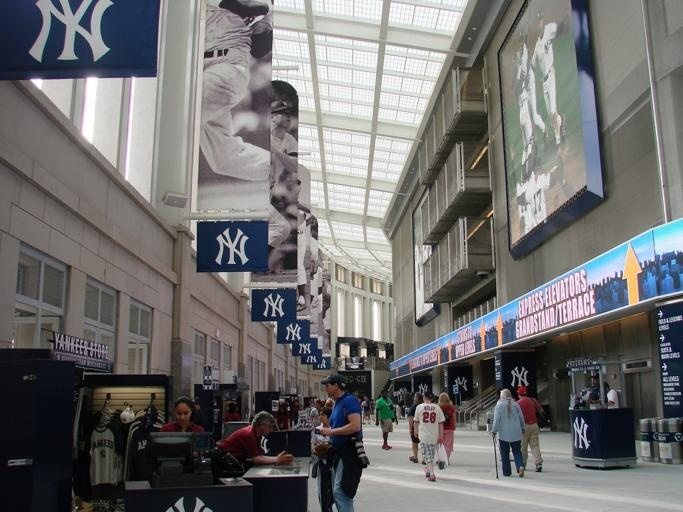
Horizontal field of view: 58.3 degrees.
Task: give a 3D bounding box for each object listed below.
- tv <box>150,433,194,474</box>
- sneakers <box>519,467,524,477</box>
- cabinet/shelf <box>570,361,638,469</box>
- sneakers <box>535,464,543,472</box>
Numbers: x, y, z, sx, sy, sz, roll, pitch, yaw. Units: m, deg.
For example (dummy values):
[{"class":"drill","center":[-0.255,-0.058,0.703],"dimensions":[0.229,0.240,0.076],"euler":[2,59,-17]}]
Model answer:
[{"class":"tv","center":[-1.664,1.884,5.983],"dimensions":[0.415,0.341,0.329],"euler":[6,-20,-18]},{"class":"sneakers","center":[3.625,4.315,12.266],"dimensions":[0.071,0.088,0.218],"euler":[0,-53,2]},{"class":"cabinet/shelf","center":[6.472,3.880,14.992],"dimensions":[0.976,2.928,1.562],"euler":[3,-9,6]},{"class":"sneakers","center":[4.205,4.498,12.995],"dimensions":[0.117,0.131,0.121],"euler":[11,-11,-9]}]
